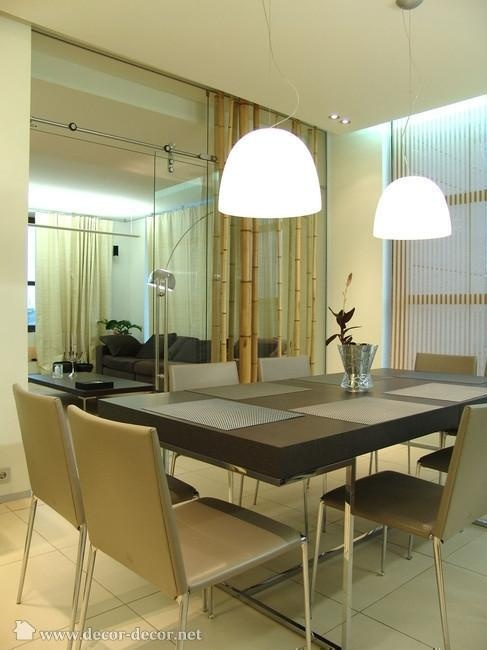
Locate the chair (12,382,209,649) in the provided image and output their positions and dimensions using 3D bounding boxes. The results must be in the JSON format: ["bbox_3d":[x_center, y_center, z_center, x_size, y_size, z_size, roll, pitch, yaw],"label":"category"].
[{"bbox_3d":[-0.560,0.548,1.977,0.642,1.146,0.603,-1,0,-33],"label":"chair"}]

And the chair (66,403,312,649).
[{"bbox_3d":[-0.148,0.465,1.289,0.502,0.559,0.421,-4,4,-44],"label":"chair"}]

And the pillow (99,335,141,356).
[{"bbox_3d":[-1.808,0.307,7.547,0.384,0.135,0.406,2,20,-34],"label":"pillow"}]

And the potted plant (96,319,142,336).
[{"bbox_3d":[-2.083,0.038,8.469,0.715,0.278,0.464,-2,2,-13],"label":"potted plant"}]
